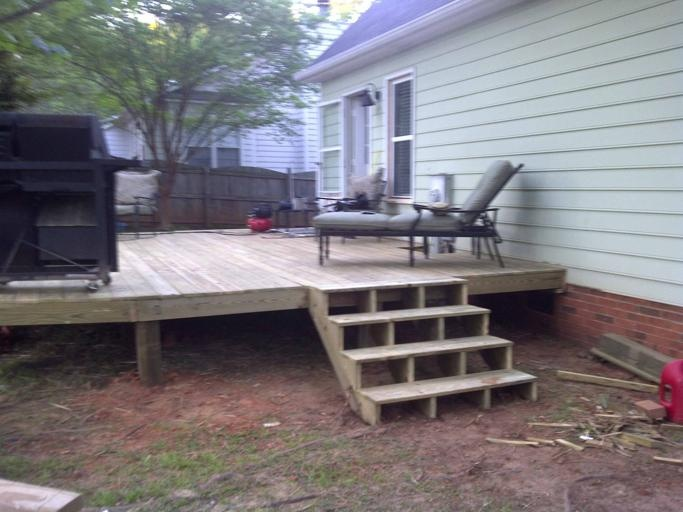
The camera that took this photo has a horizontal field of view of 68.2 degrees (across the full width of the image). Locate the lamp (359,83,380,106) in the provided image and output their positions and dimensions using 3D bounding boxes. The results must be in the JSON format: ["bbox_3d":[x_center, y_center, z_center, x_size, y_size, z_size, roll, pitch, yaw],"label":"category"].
[{"bbox_3d":[0.483,-2.548,7.911,0.209,0.350,0.305,-3,15,-12],"label":"lamp"}]
